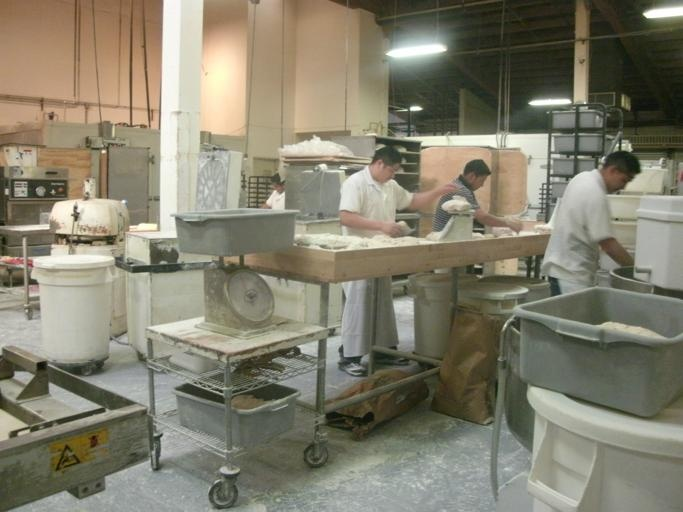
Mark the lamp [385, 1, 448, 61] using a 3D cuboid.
[{"bbox_3d":[1.389,-4.169,11.235,0.928,1.202,3.070,2,11,6],"label":"lamp"}]

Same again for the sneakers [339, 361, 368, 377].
[{"bbox_3d":[0.106,0.924,5.068,0.251,0.103,0.094,3,4,41],"label":"sneakers"}]

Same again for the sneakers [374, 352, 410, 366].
[{"bbox_3d":[0.439,0.886,5.303,0.313,0.119,0.114,-2,4,13],"label":"sneakers"}]

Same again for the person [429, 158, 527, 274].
[{"bbox_3d":[1.169,-0.399,5.382,0.818,1.220,0.745,-3,22,-6],"label":"person"}]
